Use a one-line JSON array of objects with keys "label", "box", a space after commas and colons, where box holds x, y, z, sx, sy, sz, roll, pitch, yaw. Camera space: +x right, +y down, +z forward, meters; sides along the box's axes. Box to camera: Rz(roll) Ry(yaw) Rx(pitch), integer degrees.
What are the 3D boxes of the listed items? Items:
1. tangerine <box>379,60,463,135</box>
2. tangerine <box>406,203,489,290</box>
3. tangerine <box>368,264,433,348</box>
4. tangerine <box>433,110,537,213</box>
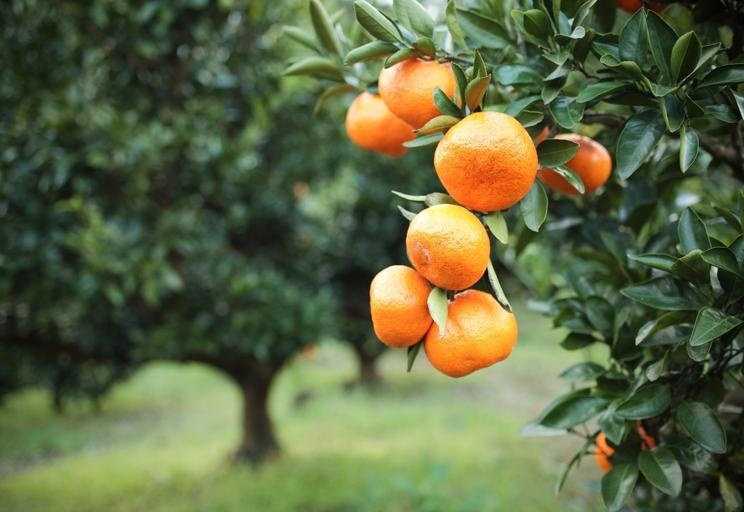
[{"label": "tangerine", "box": [0.092, -0.300, 1.438, 0.119, 0.124, 0.126, 24, 96, 30]}, {"label": "tangerine", "box": [0.138, -0.012, 1.347, 0.142, 0.148, 0.151, -1, 80, 7]}, {"label": "tangerine", "box": [0.056, 0.097, 1.370, 0.122, 0.122, 0.154, -9, 99, -20]}, {"label": "tangerine", "box": [0.203, -0.166, 1.324, 0.171, 0.079, 0.167, -35, 79, -1]}]
